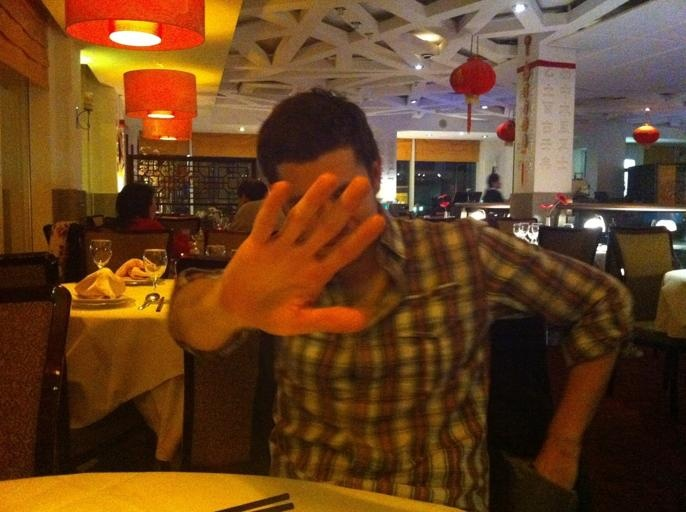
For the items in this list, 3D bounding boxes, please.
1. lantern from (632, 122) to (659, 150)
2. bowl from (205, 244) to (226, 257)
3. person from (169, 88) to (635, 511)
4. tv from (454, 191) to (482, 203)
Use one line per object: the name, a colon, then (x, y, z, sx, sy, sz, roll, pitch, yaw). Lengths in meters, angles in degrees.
lantern: (5.584, -2.242, 9.991, 0.367, 0.418, 0.726, 6, 6, 31)
bowl: (-0.685, -0.031, 2.947, 0.072, 0.042, 0.073, 1, 6, 0)
person: (0.130, 0.079, 1.043, 0.817, 0.791, 0.415, 0, 6, -31)
tv: (2.960, -1.391, 12.834, 0.586, 0.406, 0.384, 2, -12, 13)
